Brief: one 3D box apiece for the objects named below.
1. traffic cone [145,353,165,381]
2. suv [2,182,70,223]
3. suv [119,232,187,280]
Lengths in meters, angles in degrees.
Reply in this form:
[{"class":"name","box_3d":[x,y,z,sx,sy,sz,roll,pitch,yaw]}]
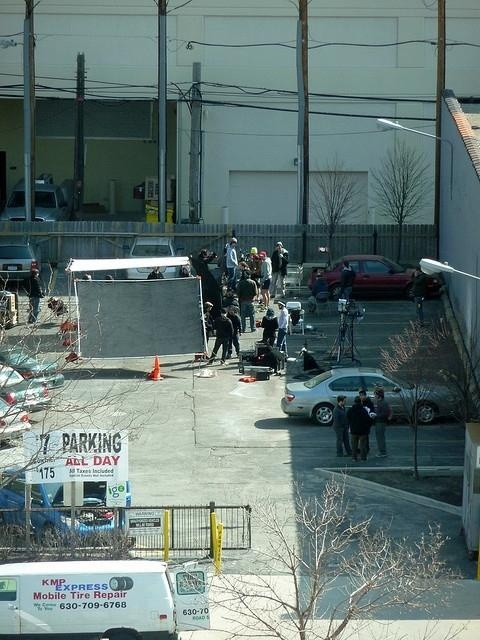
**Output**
[{"class":"traffic cone","box_3d":[-2.071,1.121,31.374,0.436,0.557,0.460,9,15,26]},{"class":"suv","box_3d":[-7.502,-3.851,48.030,2.228,1.839,2.144,-5,15,-9]},{"class":"suv","box_3d":[-2.714,-1.766,40.175,1.616,1.425,1.487,-5,13,-10]}]
